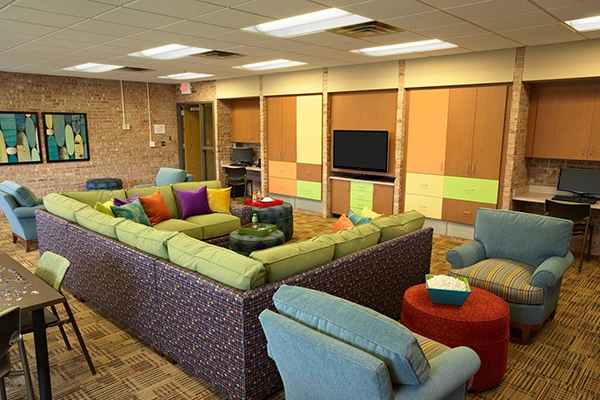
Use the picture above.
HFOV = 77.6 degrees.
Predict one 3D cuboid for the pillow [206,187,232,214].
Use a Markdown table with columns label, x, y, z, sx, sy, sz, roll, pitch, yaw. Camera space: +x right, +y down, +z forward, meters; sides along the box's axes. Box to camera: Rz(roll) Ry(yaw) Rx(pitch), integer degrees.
| label | x | y | z | sx | sy | sz | roll | pitch | yaw |
| --- | --- | --- | --- | --- | --- | --- | --- | --- | --- |
| pillow | -1.491 | 0.024 | 6.737 | 0.661 | 0.440 | 0.206 | 0 | -10 | -16 |

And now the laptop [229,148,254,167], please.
| label | x | y | z | sx | sy | sz | roll | pitch | yaw |
| --- | --- | --- | --- | --- | --- | --- | --- | --- | --- |
| laptop | -1.615 | -1.192 | 10.341 | 0.703 | 0.380 | 0.325 | 8 | 16 | 23 |

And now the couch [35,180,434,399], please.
| label | x | y | z | sx | sy | sz | roll | pitch | yaw |
| --- | --- | --- | --- | --- | --- | --- | --- | --- | --- |
| couch | -0.228 | 0.738 | 4.265 | 3.690 | 1.033 | 2.449 | 8 | 13 | 39 |

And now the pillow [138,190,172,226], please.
| label | x | y | z | sx | sy | sz | roll | pitch | yaw |
| --- | --- | --- | --- | --- | --- | --- | --- | --- | --- |
| pillow | -2.377 | 0.142 | 6.036 | 0.316 | 0.401 | 0.578 | 8 | 15 | 23 |

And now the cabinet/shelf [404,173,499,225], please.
| label | x | y | z | sx | sy | sz | roll | pitch | yaw |
| --- | --- | --- | --- | --- | --- | --- | --- | --- | --- |
| cabinet/shelf | 2.822 | -0.032 | 6.787 | 1.293 | 0.480 | 0.361 | 4 | 7 | 35 |

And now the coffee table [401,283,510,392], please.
| label | x | y | z | sx | sy | sz | roll | pitch | yaw |
| --- | --- | --- | --- | --- | --- | --- | --- | --- | --- |
| coffee table | 1.575 | 1.324 | 3.980 | 1.207 | 0.625 | 1.016 | 1 | 9 | 4 |

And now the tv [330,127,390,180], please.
| label | x | y | z | sx | sy | sz | roll | pitch | yaw |
| --- | --- | --- | --- | --- | --- | --- | --- | --- | --- |
| tv | 1.343 | -1.035 | 8.083 | 1.494 | 0.773 | 0.147 | 5 | 14 | 32 |

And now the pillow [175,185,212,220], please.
| label | x | y | z | sx | sy | sz | roll | pitch | yaw |
| --- | --- | --- | --- | --- | --- | --- | --- | --- | --- |
| pillow | -1.884 | 0.068 | 6.528 | 0.669 | 0.444 | 0.283 | -13 | 13 | -30 |

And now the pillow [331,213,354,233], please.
| label | x | y | z | sx | sy | sz | roll | pitch | yaw |
| --- | --- | --- | --- | --- | --- | --- | --- | --- | --- |
| pillow | 0.602 | 0.331 | 5.297 | 0.214 | 0.335 | 0.315 | 15 | 46 | -17 |
